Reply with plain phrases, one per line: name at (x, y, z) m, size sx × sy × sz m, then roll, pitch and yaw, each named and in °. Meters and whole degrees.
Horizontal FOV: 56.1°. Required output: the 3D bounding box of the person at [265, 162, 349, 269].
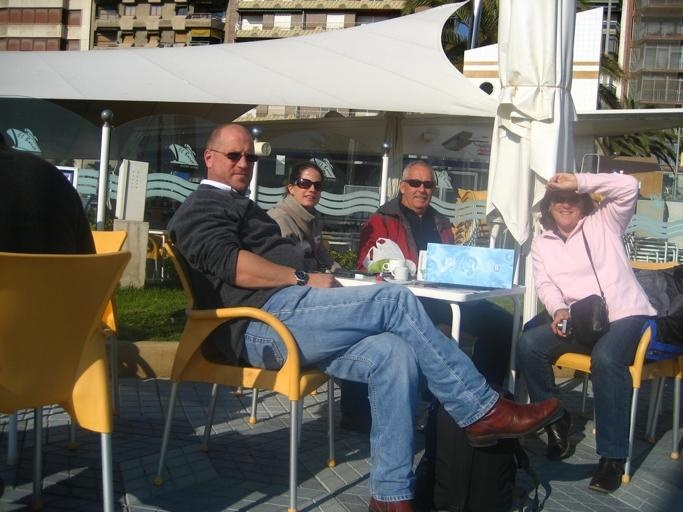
person at (-0.176, -0.213, 4.369) m, size 0.574 × 0.817 × 0.623 m, roll 9°, pitch -11°, yaw -31°

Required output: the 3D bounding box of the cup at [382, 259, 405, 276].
cup at (0.308, 0.069, 3.837) m, size 0.105 × 0.083 × 0.070 m, roll -1°, pitch 1°, yaw 17°

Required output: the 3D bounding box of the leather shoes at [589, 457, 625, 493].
leather shoes at (1.477, 1.209, 3.562) m, size 0.113 × 0.160 × 0.207 m, roll 6°, pitch 8°, yaw 44°

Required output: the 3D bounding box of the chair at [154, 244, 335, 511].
chair at (-0.488, 0.653, 3.997) m, size 1.161 × 1.843 × 1.113 m, roll 0°, pitch -4°, yaw 15°

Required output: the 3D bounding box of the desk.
desk at (0.566, 0.446, 4.067) m, size 1.060 × 1.097 × 0.837 m, roll 1°, pitch 1°, yaw 38°

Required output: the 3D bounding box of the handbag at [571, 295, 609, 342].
handbag at (1.483, 0.382, 3.812) m, size 0.115 × 0.229 × 0.222 m, roll 8°, pitch -16°, yaw -29°

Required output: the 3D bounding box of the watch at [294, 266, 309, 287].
watch at (-0.211, 0.116, 3.369) m, size 0.080 × 0.082 × 0.059 m, roll 20°, pitch 27°, yaw 0°

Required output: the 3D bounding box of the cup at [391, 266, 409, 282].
cup at (0.351, 0.113, 3.768) m, size 0.088 × 0.069 × 0.070 m, roll 0°, pitch 3°, yaw -1°
